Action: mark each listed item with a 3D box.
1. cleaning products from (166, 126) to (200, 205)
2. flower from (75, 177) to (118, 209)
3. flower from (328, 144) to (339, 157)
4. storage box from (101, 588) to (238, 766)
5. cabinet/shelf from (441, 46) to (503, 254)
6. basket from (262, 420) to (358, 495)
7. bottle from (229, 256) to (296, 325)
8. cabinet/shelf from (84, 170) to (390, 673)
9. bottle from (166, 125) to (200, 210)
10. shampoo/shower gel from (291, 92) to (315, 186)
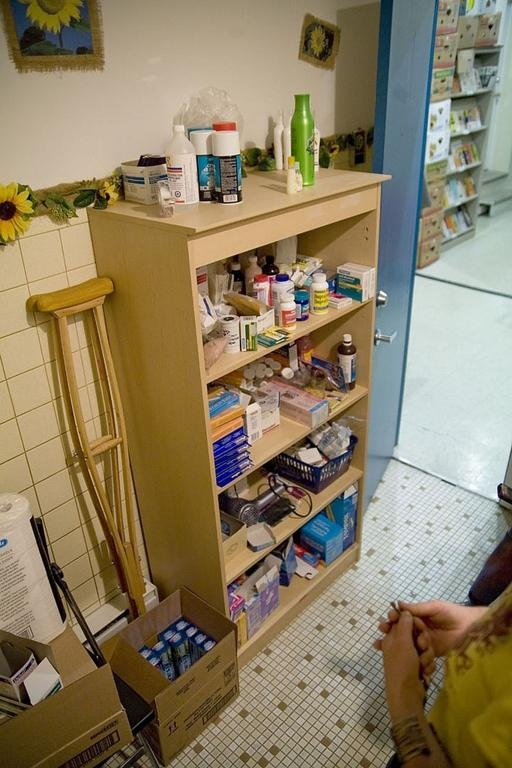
[{"bbox_3d":[-0.207,-0.577,1.491,0.076,0.217,0.070,20,31,25],"label":"cleaning products"},{"bbox_3d":[-0.458,-0.553,1.596,0.154,0.079,0.090,-19,26,-26],"label":"flower"},{"bbox_3d":[0.330,-0.999,2.345,0.016,0.050,0.080,8,27,29],"label":"flower"},{"bbox_3d":[-0.275,1.001,1.928,0.346,0.605,0.371,-18,31,-41],"label":"storage box"},{"bbox_3d":[1.996,-2.301,5.617,0.301,1.987,0.526,20,32,34],"label":"cabinet/shelf"},{"bbox_3d":[0.237,0.325,2.498,0.394,0.280,0.395,11,22,20],"label":"basket"},{"bbox_3d":[0.026,-0.330,1.891,0.200,0.264,0.182,7,31,8],"label":"bottle"},{"bbox_3d":[0.008,0.165,2.152,0.690,1.808,1.010,14,30,40],"label":"cabinet/shelf"},{"bbox_3d":[-0.197,-0.587,1.481,0.105,0.202,0.083,-17,25,-24],"label":"bottle"},{"bbox_3d":[0.133,-0.799,1.788,0.099,0.270,0.116,16,32,32],"label":"shampoo/shower gel"}]
